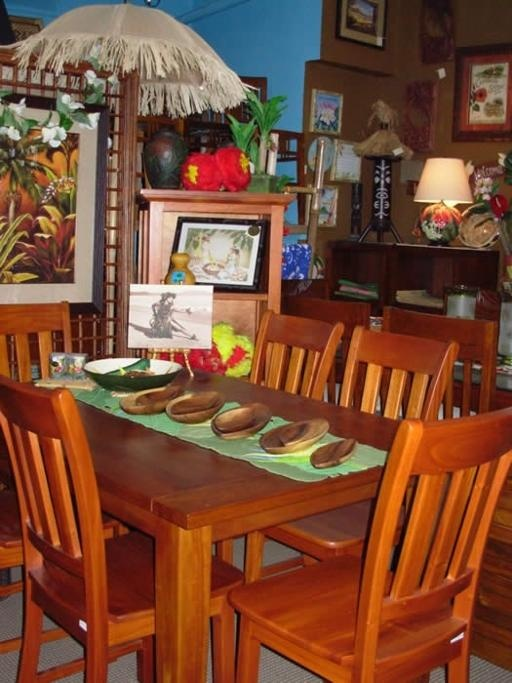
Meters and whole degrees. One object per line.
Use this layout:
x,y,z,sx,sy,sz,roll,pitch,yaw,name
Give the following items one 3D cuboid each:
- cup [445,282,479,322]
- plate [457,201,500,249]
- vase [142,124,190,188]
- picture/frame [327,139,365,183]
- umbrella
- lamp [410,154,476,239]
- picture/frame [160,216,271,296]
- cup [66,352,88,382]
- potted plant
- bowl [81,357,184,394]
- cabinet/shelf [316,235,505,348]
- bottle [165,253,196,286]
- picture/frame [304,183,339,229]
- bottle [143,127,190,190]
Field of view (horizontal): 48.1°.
0.705,-0.136,1.983,0.103,0.106,0.095,4,12,-1,cup
1.951,-1.006,4.954,0.354,0.385,0.345,-2,10,-40,plate
-0.339,-0.729,2.300,0.227,0.261,0.215,0,8,-8,vase
0.930,-1.830,5.872,0.421,0.414,0.074,-6,16,-39,picture/frame
-0.440,-1.105,2.230,0.609,0.308,0.844,11,13,32,umbrella
1.439,-1.070,4.484,0.477,0.649,0.452,-3,11,-34,lamp
-0.144,-0.324,2.206,0.398,0.301,0.029,2,0,1,picture/frame
-0.488,0.067,1.576,0.074,0.100,0.071,2,7,0,cup
0.006,-0.825,2.460,0.212,0.426,0.222,21,38,25,potted plant
-0.304,0.079,1.466,0.141,0.039,0.133,1,7,0,bowl
1.223,-0.293,4.852,0.585,1.293,1.467,6,-2,-43,cabinet/shelf
-0.259,-0.250,2.005,0.125,0.122,0.120,-11,18,-39,bottle
0.729,-1.366,5.799,0.101,0.428,0.327,13,14,34,picture/frame
-0.333,-0.714,2.305,0.235,0.270,0.224,0,9,-8,bottle
